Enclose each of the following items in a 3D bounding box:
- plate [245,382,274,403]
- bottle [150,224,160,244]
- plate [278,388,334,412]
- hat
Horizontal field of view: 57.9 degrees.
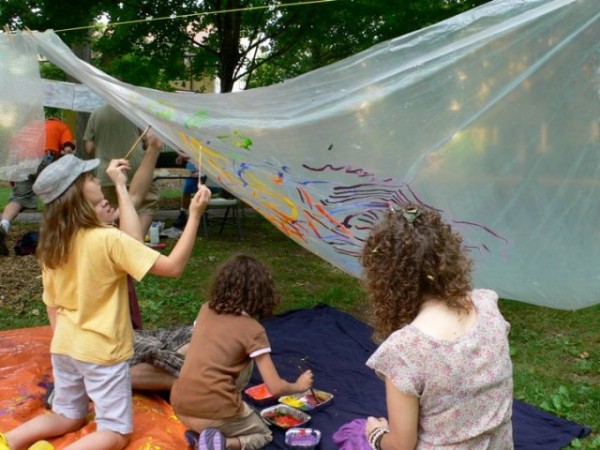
[{"bbox_3d":[-0.280,1.133,3.660,0.248,0.063,0.224,-1,5,-1],"label":"plate"},{"bbox_3d":[-1.835,0.120,6.847,0.151,0.222,0.255,0,4,-3],"label":"bottle"},{"bbox_3d":[0.046,1.170,3.636,0.193,0.033,0.184,-2,6,-37],"label":"plate"},{"bbox_3d":[-1.260,-0.265,2.864,0.120,0.341,0.222,59,-7,-34],"label":"hat"}]
